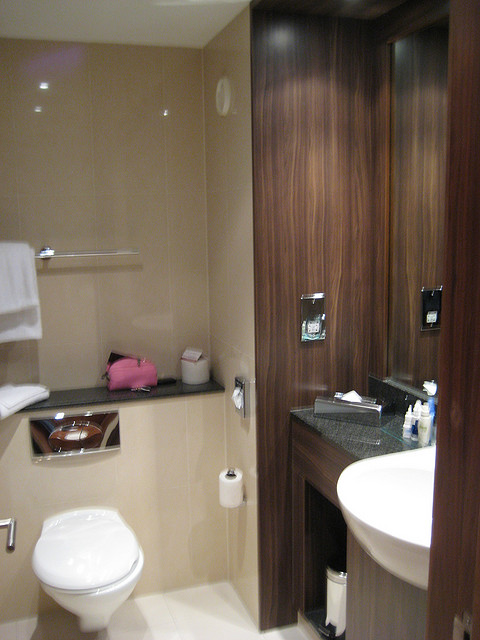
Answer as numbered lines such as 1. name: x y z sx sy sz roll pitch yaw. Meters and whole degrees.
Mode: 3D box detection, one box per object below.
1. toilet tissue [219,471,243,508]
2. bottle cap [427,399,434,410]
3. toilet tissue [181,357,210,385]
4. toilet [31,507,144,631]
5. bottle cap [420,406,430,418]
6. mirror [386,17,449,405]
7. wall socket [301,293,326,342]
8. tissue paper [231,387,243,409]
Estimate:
1. toilet tissue: -0.041 0.756 2.268 0.112 0.168 0.114 11 17 42
2. bottle cap: 0.623 0.279 1.634 0.013 0.027 0.056 0 9 20
3. toilet tissue: -0.223 0.261 2.562 0.145 0.131 0.110 -6 7 -14
4. toilet: -0.628 0.907 2.086 0.307 0.390 0.568 -1 6 -18
5. bottle cap: 0.577 0.288 1.564 0.023 0.038 0.028 2 10 6
6. mirror: 0.648 -0.406 1.842 0.286 1.030 0.044 -13 22 -16
7. wall socket: 0.294 -0.016 2.020 0.098 0.227 0.024 -1 37 8
8. tissue paper: -0.013 0.340 2.173 0.022 0.086 0.053 4 0 -20
